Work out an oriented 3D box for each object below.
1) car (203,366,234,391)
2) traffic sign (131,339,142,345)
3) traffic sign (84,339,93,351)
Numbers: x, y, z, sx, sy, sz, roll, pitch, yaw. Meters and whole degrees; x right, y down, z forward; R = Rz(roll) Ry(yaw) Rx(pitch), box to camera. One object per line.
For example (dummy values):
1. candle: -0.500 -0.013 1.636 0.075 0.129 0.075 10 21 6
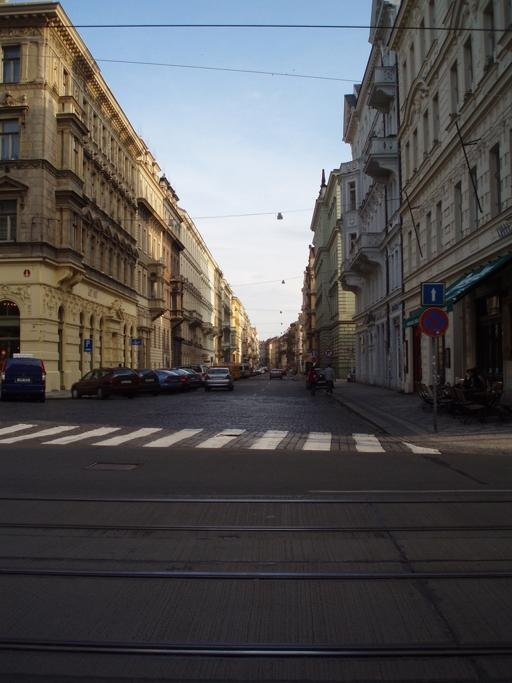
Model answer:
1. car: -2.314 2.369 40.497 1.720 1.410 1.175 -4 -4 36
2. traffic sign: -8.432 0.033 45.555 0.506 0.331 0.512 0 -3 -6
3. traffic sign: -9.414 0.191 36.219 0.386 0.731 1.428 0 -4 -17
